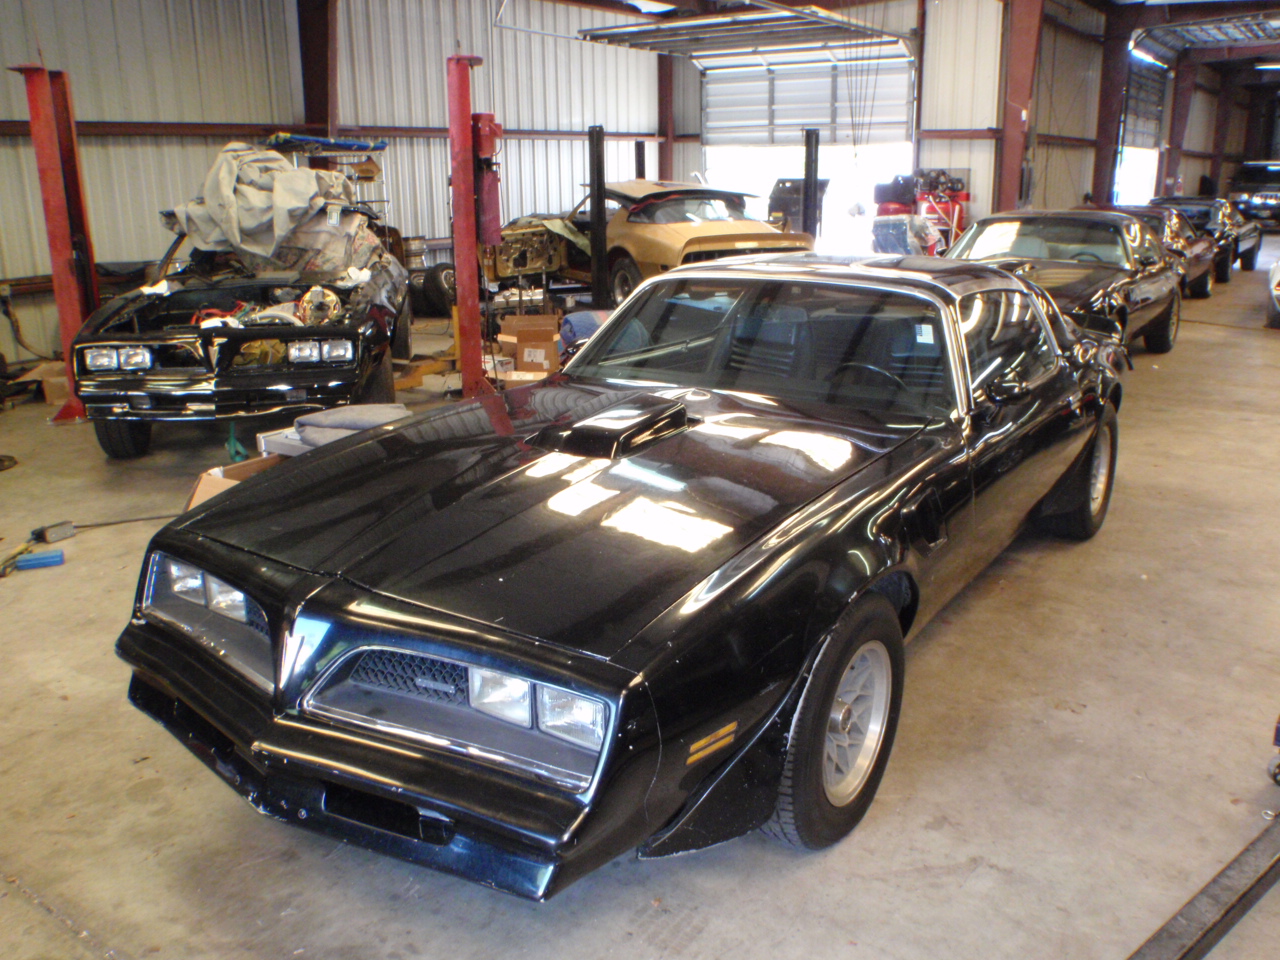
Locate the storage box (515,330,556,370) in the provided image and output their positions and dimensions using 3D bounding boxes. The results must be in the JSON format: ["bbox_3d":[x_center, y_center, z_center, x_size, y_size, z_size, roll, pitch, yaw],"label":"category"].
[{"bbox_3d":[-0.833,-1.089,7.683,0.389,0.352,0.387,1,8,1],"label":"storage box"}]

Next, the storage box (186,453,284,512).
[{"bbox_3d":[-2.002,-0.013,4.451,0.418,0.154,0.393,-8,12,-11],"label":"storage box"}]

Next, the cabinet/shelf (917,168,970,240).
[{"bbox_3d":[5.373,-4.943,16.170,1.069,0.732,1.637,0,-18,14],"label":"cabinet/shelf"}]

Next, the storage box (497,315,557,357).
[{"bbox_3d":[-0.913,-1.247,7.832,0.476,0.273,0.435,1,15,4],"label":"storage box"}]

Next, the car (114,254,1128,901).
[{"bbox_3d":[0.514,0.034,3.393,1.915,0.994,3.741,17,27,37],"label":"car"}]

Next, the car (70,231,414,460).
[{"bbox_3d":[-3.033,-1.613,7.735,2.137,1.439,3.481,-3,28,-4],"label":"car"}]
